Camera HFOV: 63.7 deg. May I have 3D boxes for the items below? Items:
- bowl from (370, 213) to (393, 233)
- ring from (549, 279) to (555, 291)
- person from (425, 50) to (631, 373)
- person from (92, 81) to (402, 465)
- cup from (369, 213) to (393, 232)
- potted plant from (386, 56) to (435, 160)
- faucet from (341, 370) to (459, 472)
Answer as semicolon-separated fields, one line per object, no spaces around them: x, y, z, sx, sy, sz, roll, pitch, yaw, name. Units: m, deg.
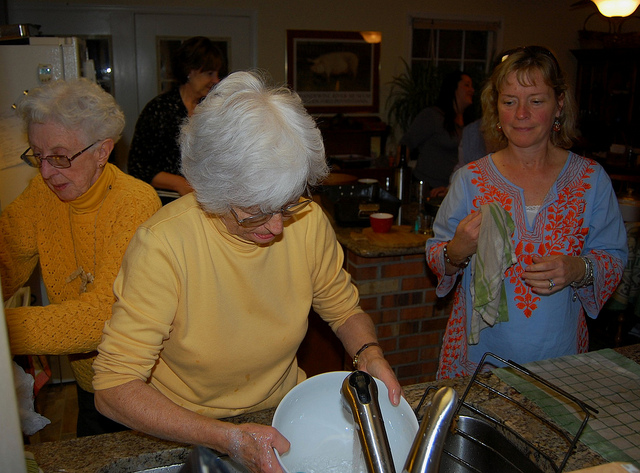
0.341;-0.073;2.857;0.095;0.078;0.099;2;6;0;bowl
0.775;0.162;1.725;0.017;0.037;0.009;6;13;23;ring
0.759;-0.044;1.858;0.673;1.196;0.377;-1;12;-7;person
-0.180;0.085;1.337;0.785;0.944;0.472;-6;14;-27;person
0.345;-0.075;2.858;0.094;0.073;0.098;2;5;0;cup
1.008;-1.377;5.727;0.546;0.981;0.478;-2;12;-29;potted plant
0.147;0.353;1.020;0.133;0.194;0.263;-4;13;-22;faucet
